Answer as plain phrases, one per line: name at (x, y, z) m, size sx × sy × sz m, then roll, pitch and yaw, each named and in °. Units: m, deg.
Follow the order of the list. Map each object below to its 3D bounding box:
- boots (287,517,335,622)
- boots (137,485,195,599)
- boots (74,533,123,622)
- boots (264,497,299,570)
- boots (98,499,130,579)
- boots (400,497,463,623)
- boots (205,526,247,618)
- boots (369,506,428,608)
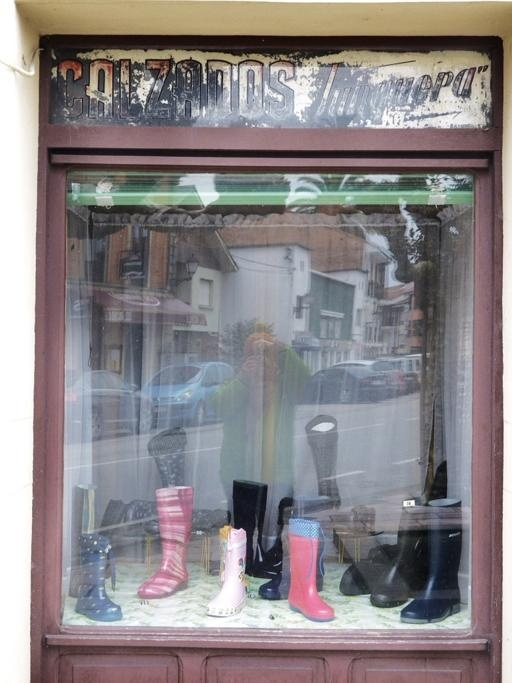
boots at (0.177, 0.768, 3.325) m, size 0.128 × 0.298 × 0.199 m, roll 0°, pitch 2°, yaw -13°
boots at (-0.307, 0.695, 3.420) m, size 0.173 × 0.353 × 0.149 m, roll 1°, pitch 2°, yaw -2°
boots at (-0.519, 0.787, 3.309) m, size 0.149 × 0.259 × 0.160 m, roll 1°, pitch 2°, yaw -7°
boots at (0.097, 0.661, 3.502) m, size 0.079 × 0.272 × 0.107 m, roll 3°, pitch -38°, yaw 6°
boots at (-0.455, 0.680, 3.424) m, size 0.078 × 0.243 × 0.168 m, roll 12°, pitch -21°, yaw -29°
boots at (0.581, 0.732, 3.320) m, size 0.189 × 0.385 × 0.194 m, roll 1°, pitch 2°, yaw 8°
boots at (-0.088, 0.776, 3.339) m, size 0.105 × 0.260 × 0.210 m, roll 2°, pitch 2°, yaw 20°
boots at (0.487, 0.769, 3.412) m, size 0.140 × 0.343 × 0.362 m, roll 6°, pitch -1°, yaw 26°
